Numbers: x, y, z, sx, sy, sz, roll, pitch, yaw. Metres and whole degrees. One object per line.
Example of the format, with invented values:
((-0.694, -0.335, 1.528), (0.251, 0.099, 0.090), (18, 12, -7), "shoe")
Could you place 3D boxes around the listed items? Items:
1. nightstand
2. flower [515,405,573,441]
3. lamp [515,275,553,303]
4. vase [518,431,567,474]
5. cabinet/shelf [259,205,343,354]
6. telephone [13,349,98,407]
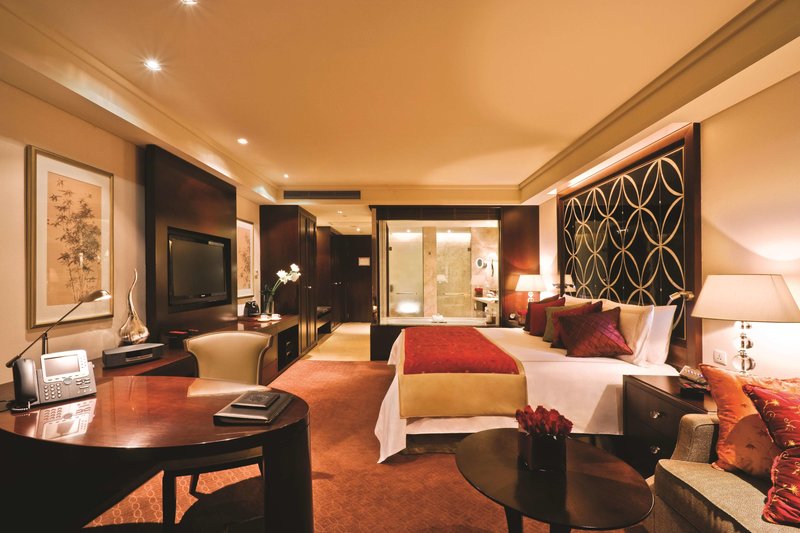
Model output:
((2.137, 1.232, 4.277), (0.647, 0.977, 0.991), (2, -5, 2), "nightstand")
((0.988, 1.061, 3.464), (0.268, 0.120, 0.270), (-3, -9, 26), "flower")
((1.848, 0.280, 7.063), (0.423, 0.475, 0.411), (-2, 1, 18), "lamp")
((0.973, 1.245, 3.529), (0.226, 0.262, 0.418), (0, -4, -2), "vase")
((-1.750, 0.221, 7.921), (0.782, 2.366, 1.396), (-1, 11, -7), "cabinet/shelf")
((-2.398, 0.778, 3.516), (0.261, 0.325, 0.446), (-5, 0, 45), "telephone")
